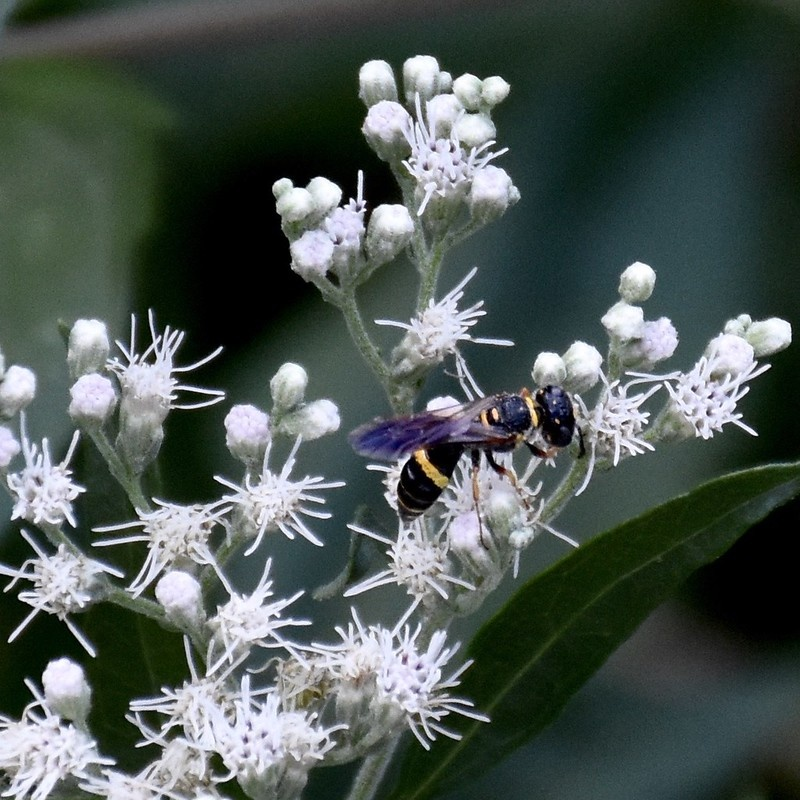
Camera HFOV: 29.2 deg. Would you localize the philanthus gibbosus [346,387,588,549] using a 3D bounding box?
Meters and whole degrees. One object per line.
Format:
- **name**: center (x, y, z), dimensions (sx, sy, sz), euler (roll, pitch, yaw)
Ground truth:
- **philanthus gibbosus**: center (0.108, 0.083, 2.617), dimensions (0.334, 0.131, 0.242), euler (-14, 29, -16)
